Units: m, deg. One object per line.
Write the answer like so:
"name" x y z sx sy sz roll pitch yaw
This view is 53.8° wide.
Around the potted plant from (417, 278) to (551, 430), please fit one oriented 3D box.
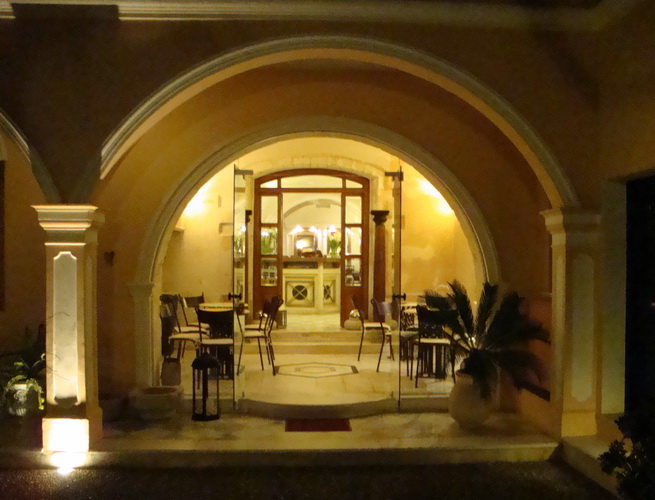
"potted plant" 1.897 1.105 7.648 1.417 1.732 1.449 3 -5 -20
